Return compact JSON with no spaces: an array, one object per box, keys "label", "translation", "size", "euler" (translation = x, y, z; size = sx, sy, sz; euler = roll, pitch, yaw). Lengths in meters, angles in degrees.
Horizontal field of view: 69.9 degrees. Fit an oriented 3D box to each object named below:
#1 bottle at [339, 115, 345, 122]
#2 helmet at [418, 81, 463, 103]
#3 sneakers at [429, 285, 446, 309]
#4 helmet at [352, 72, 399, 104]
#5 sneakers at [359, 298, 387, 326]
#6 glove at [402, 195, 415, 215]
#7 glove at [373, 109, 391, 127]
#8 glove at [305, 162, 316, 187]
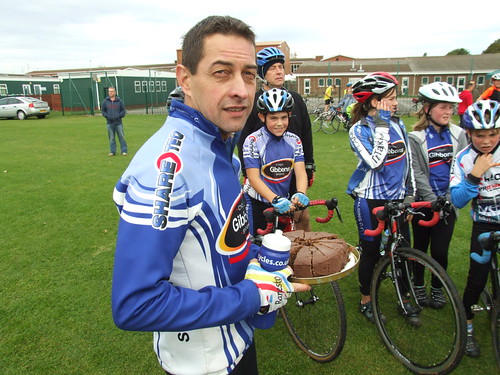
[{"label":"bottle","translation":[4.189,-3.106,16.177],"size":[0.090,0.308,0.323],"euler":[8,-21,6]},{"label":"helmet","translation":[2.330,-1.153,4.402],"size":[0.286,0.186,0.458],"euler":[-3,18,1]},{"label":"sneakers","translation":[2.342,1.390,4.468],"size":[0.119,0.145,0.327],"euler":[0,-1,12]},{"label":"helmet","translation":[1.458,-1.155,4.191],"size":[0.445,0.279,0.332],"euler":[-10,17,34]},{"label":"sneakers","translation":[1.476,1.498,4.309],"size":[0.135,0.163,0.353],"euler":[-10,7,-15]},{"label":"glove","translation":[1.721,0.195,3.886],"size":[0.154,0.127,0.089],"euler":[-26,24,-21]},{"label":"glove","translation":[1.504,-0.782,4.091],"size":[0.177,0.200,0.214],"euler":[11,13,17]},{"label":"glove","translation":[0.902,-0.159,5.265],"size":[0.223,0.305,0.309],"euler":[2,-22,14]}]
